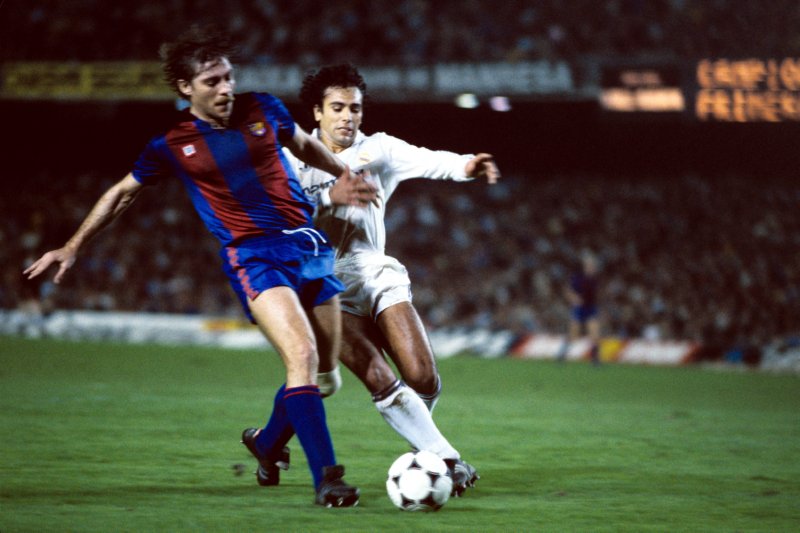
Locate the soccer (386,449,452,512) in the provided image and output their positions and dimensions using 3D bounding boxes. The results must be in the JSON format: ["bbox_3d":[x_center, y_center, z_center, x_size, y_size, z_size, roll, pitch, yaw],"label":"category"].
[{"bbox_3d":[0.151,1.823,7.827,0.631,0.611,0.621,-6,-1,1],"label":"soccer"}]

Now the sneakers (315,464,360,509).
[{"bbox_3d":[-0.531,1.804,7.403,0.403,0.279,0.251,-6,-7,34],"label":"sneakers"}]

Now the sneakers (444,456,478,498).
[{"bbox_3d":[0.525,1.806,7.845,0.335,0.238,0.157,30,-49,-35],"label":"sneakers"}]
